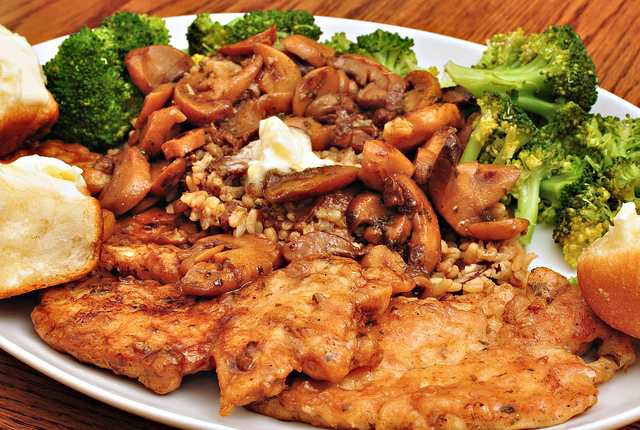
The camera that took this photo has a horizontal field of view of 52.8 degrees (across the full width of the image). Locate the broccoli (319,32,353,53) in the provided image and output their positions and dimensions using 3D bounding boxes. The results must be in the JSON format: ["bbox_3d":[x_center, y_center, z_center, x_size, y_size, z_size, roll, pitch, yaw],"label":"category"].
[{"bbox_3d":[0.182,-1.660,6.237,0.234,0.097,0.239,-39,57,-22],"label":"broccoli"}]

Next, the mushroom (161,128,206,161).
[{"bbox_3d":[-1.095,-0.550,5.237,0.291,0.268,0.077,-36,100,-43],"label":"mushroom"}]

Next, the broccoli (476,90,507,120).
[{"bbox_3d":[1.405,-0.917,5.308,0.230,0.078,0.231,-6,77,33],"label":"broccoli"}]

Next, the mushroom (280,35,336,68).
[{"bbox_3d":[-0.120,-1.440,5.617,0.378,0.124,0.382,15,17,26],"label":"mushroom"}]

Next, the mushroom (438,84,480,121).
[{"bbox_3d":[1.173,-0.991,5.477,0.349,0.264,0.117,30,90,12],"label":"mushroom"}]
